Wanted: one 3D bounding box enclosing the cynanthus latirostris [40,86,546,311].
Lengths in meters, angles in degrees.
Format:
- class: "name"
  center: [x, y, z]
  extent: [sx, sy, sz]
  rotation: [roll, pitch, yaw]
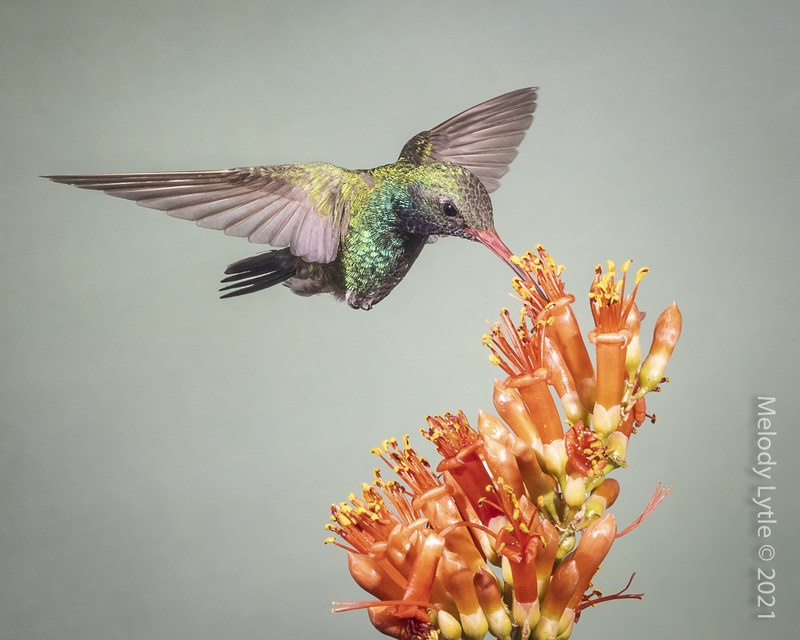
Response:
- class: "cynanthus latirostris"
  center: [-0.139, -0.258, 2.975]
  extent: [0.598, 0.305, 0.859]
  rotation: [8, 6, 42]
